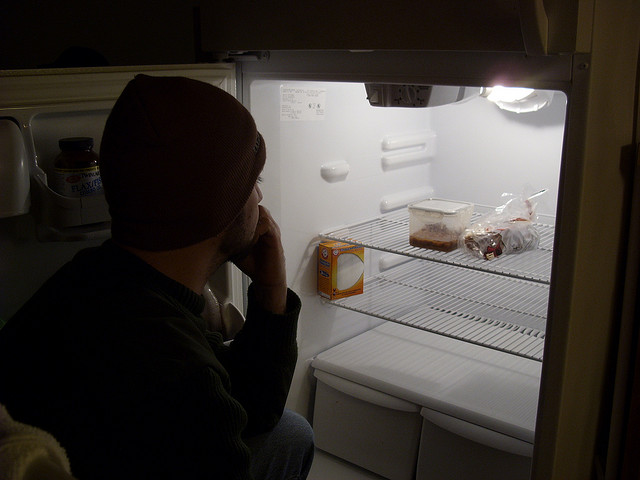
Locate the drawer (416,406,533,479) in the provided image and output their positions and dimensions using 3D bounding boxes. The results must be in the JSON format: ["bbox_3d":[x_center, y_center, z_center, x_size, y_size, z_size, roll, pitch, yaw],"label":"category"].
[{"bbox_3d":[0.518,0.687,1.662,0.283,0.250,0.277,12,8,35],"label":"drawer"}]
